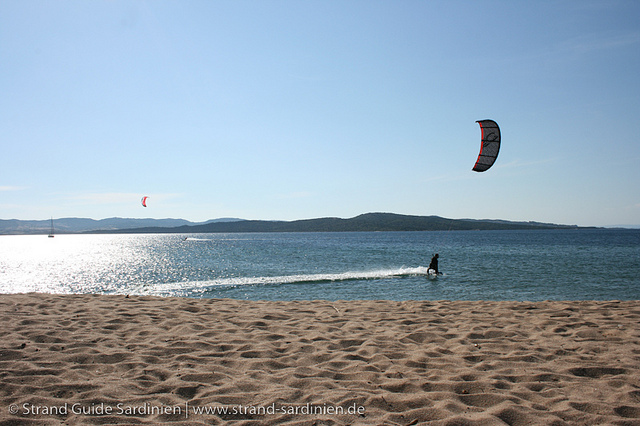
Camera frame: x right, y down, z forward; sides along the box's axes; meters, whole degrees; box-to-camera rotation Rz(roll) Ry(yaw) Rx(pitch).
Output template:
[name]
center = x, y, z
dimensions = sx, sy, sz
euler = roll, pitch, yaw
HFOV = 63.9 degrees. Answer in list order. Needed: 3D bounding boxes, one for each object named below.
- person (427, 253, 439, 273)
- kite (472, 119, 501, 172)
[person]
center = 6.477, 2.814, 28.915
dimensions = 0.568, 1.029, 0.974
euler = -1, 0, -19
[kite]
center = 4.644, -1.846, 14.149
dimensions = 0.662, 1.408, 0.557
euler = -1, 0, 13
